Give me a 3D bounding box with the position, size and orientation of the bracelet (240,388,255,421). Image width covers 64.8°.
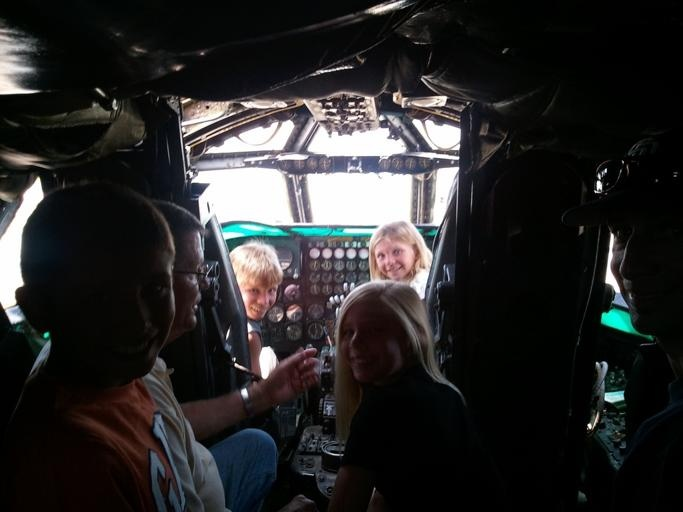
[{"bbox_3d":[-0.395,0.613,2.247,0.030,0.100,0.101,-16,-42,-11],"label":"bracelet"}]
